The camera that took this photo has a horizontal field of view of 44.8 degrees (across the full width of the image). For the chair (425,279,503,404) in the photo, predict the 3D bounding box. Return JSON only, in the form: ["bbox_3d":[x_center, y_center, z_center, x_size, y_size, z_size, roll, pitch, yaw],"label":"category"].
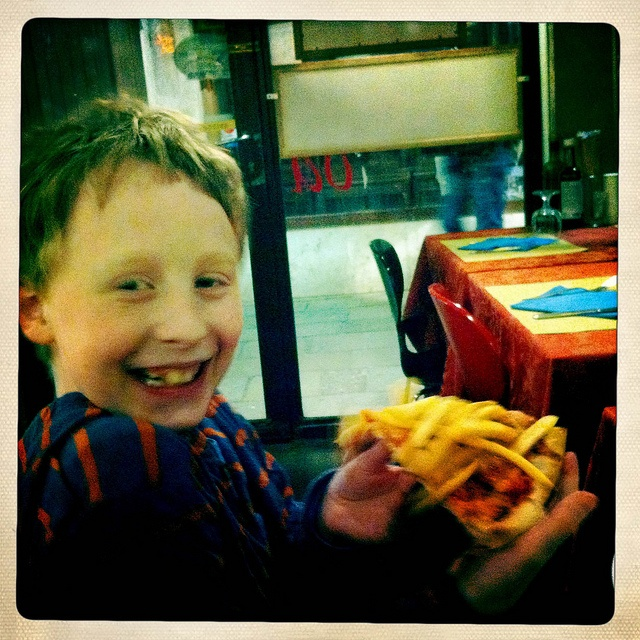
[{"bbox_3d":[0.404,0.061,2.135,0.182,0.298,0.182,-12,37,-5],"label":"chair"}]

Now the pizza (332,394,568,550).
[{"bbox_3d":[0.374,0.384,2.161,0.484,0.393,0.158,27,5,6],"label":"pizza"}]
